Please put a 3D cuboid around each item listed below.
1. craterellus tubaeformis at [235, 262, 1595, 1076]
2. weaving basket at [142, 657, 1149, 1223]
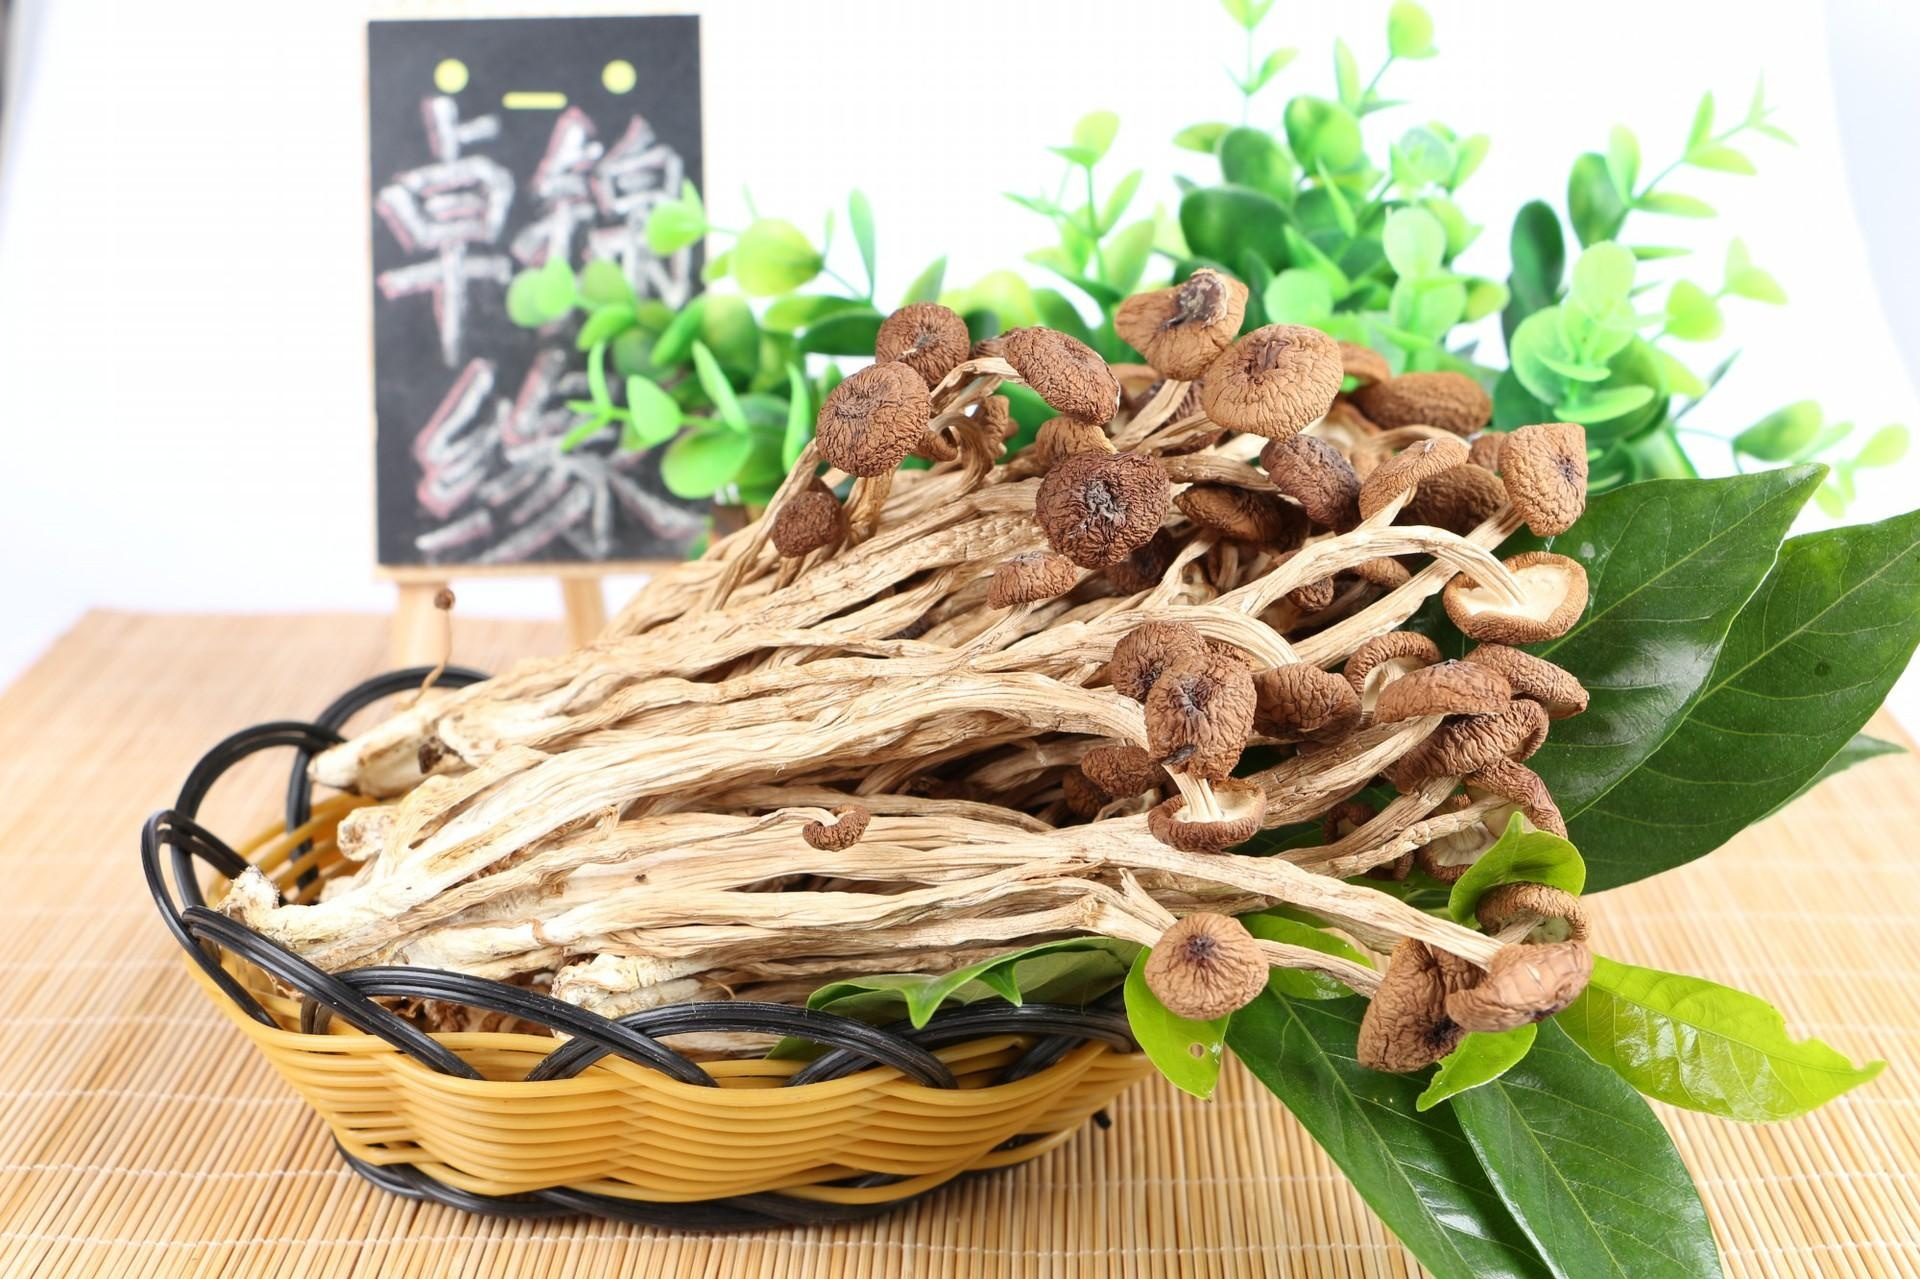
[{"bbox_3d":[0.057,0.039,1.101,1.029,0.303,0.516,-5,32,-6],"label":"craterellus tubaeformis"},{"bbox_3d":[-0.289,0.263,1.177,0.731,0.240,0.259,14,34,22],"label":"weaving basket"}]
